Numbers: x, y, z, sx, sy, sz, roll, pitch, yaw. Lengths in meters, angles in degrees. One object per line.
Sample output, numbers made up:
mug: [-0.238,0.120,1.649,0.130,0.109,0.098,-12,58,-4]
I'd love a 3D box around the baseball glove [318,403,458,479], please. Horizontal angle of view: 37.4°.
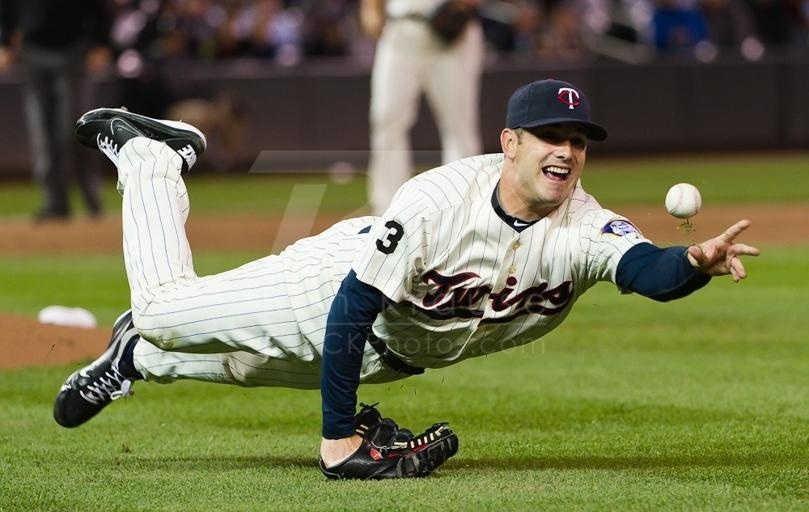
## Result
baseball glove: [-0.091,0.978,6.297,0.635,0.267,0.306,-5,5,2]

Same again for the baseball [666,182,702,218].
baseball: [1.411,-0.277,6.103,0.194,0.166,0.178,3,-6,-13]

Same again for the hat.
hat: [0.768,-0.730,6.050,0.332,0.207,0.414,0,4,-40]
